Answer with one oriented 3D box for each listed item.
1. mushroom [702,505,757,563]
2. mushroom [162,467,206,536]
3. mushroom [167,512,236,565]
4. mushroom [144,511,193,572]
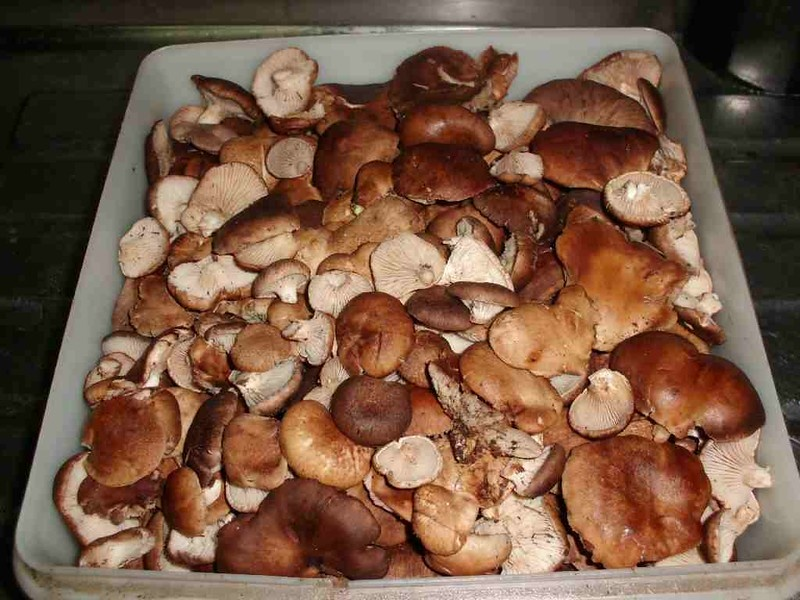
[{"bbox_3d":[2.044,1.436,4.998,0.252,0.116,0.382,39,68,19],"label":"mushroom"},{"bbox_3d":[-1.326,1.241,4.905,0.357,0.102,0.368,8,101,45],"label":"mushroom"},{"bbox_3d":[-1.317,1.546,5.111,0.368,0.334,0.108,-23,54,7],"label":"mushroom"},{"bbox_3d":[-1.489,1.539,5.081,0.111,0.323,0.322,-1,85,-6],"label":"mushroom"}]
